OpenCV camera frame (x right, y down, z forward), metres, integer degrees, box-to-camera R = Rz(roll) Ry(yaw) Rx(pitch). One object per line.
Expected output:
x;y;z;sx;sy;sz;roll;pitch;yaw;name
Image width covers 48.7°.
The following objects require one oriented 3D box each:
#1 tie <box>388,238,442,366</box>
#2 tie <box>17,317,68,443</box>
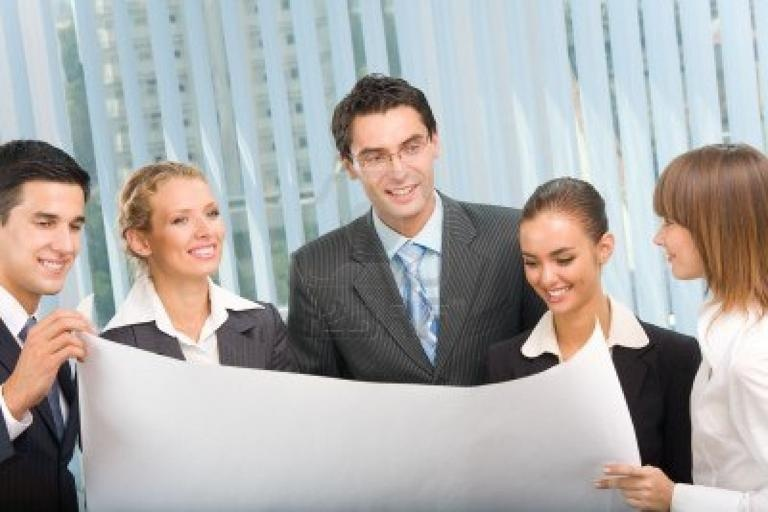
0.091;0.110;2.057;0.108;0.286;0.026;-12;-31;-5;tie
-0.844;0.305;2.087;0.178;0.241;0.072;14;-39;-32;tie
